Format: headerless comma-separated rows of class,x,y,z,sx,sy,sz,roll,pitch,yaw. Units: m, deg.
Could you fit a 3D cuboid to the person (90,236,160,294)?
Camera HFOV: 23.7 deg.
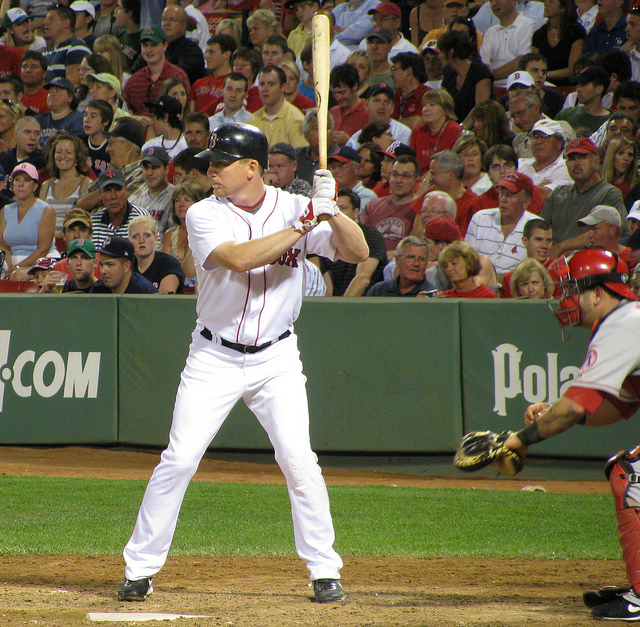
person,-1.847,-0.412,13.940,0.712,0.408,0.484,3,-2,18

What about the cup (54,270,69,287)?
cup,-2.479,-0.339,14.602,0.136,0.158,0.461,0,2,-10

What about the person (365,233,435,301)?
person,0.730,-0.408,13.734,0.579,0.559,0.827,1,2,3

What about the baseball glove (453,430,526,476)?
baseball glove,1.061,0.885,9.711,0.428,0.273,0.206,1,2,5

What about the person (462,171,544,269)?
person,1.692,-0.837,14.175,0.844,0.802,0.461,15,10,30

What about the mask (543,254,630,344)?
mask,1.688,-0.098,9.763,0.528,0.540,0.233,1,2,19
